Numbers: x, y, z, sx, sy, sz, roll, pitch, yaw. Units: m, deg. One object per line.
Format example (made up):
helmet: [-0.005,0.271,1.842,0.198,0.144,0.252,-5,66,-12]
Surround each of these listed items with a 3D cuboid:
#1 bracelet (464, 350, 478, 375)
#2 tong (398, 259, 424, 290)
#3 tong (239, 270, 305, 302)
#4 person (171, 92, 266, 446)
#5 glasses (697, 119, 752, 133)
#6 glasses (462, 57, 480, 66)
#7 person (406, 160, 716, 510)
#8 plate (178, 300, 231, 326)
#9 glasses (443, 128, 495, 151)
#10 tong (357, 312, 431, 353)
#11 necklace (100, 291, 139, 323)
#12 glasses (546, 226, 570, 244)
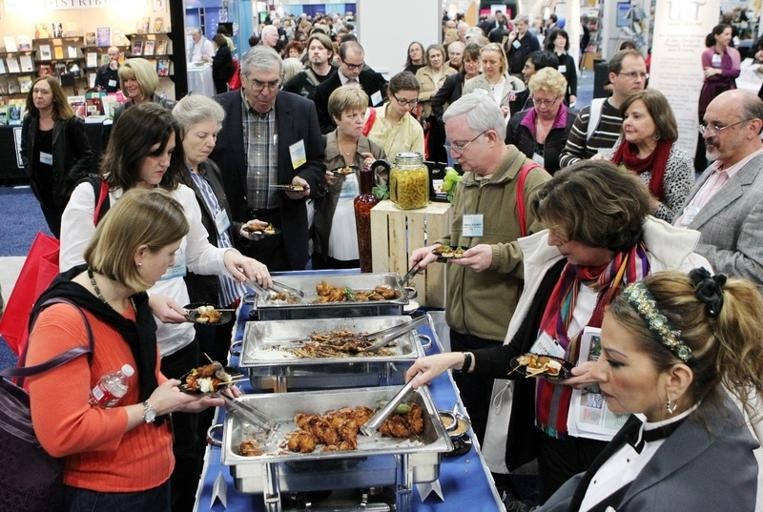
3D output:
bracelet: [0.408,0.497,2.844,0.060,0.090,0.096,1,11,1]
tong: [0.163,0.117,3.707,0.059,0.294,0.047,-12,60,-36]
tong: [-0.626,0.196,3.576,0.254,0.071,0.157,13,12,-22]
person: [-1.146,0.217,4.251,0.702,2.561,0.659,-4,14,-11]
glasses: [2.180,-0.819,3.806,0.217,0.068,0.215,-7,13,-5]
glasses: [1.175,-2.565,8.004,0.157,0.165,0.126,-1,9,-27]
person: [0.943,0.684,2.966,1.000,2.212,1.025,8,15,36]
plate: [-0.877,0.302,3.115,0.166,0.036,0.128,8,24,-19]
glasses: [0.497,-0.654,3.479,0.218,0.143,0.070,12,18,29]
tong: [0.101,0.399,3.212,0.461,0.053,0.140,-25,45,-11]
necklace: [-1.100,0.207,2.579,0.095,0.059,0.128,4,23,-41]
glasses: [0.764,-0.088,2.679,0.063,0.099,0.103,-4,17,-23]
